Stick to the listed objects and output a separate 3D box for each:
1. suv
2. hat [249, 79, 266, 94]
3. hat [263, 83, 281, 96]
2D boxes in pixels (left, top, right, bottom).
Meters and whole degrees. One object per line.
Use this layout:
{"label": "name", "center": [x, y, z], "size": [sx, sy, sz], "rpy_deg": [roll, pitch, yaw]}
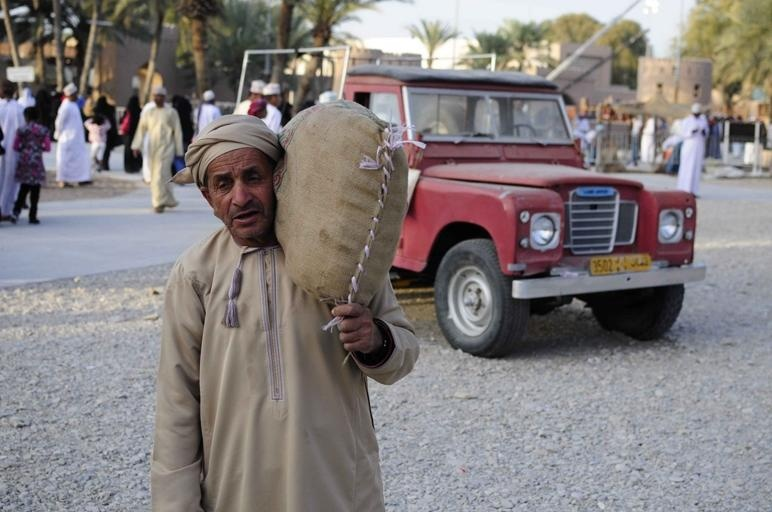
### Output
{"label": "suv", "center": [0.978, -0.691, 9.136], "size": [2.554, 2.870, 4.923], "rpy_deg": [-4, 12, -30]}
{"label": "hat", "center": [-2.687, -3.579, 16.427], "size": [0.393, 0.282, 0.522], "rpy_deg": [3, 10, -11]}
{"label": "hat", "center": [-2.222, -3.253, 15.274], "size": [0.340, 0.305, 0.498], "rpy_deg": [-1, 6, -4]}
